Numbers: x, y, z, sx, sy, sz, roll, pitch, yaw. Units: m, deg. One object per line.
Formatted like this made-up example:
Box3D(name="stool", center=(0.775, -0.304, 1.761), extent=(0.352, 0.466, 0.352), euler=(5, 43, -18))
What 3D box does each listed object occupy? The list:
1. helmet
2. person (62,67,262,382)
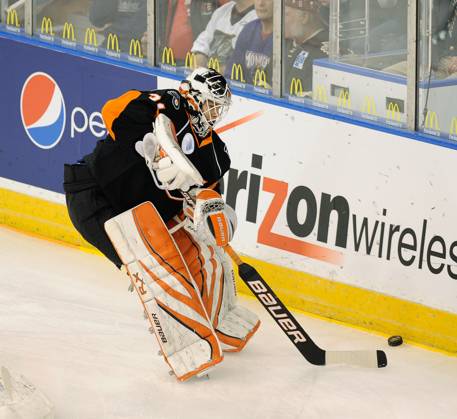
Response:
Box3D(name="helmet", center=(-0.114, -0.512, 3.415), extent=(0.287, 0.253, 0.221), euler=(27, 15, 30))
Box3D(name="person", center=(-0.312, 0.026, 3.579), extent=(1.002, 1.345, 0.732), euler=(6, 7, 10))
